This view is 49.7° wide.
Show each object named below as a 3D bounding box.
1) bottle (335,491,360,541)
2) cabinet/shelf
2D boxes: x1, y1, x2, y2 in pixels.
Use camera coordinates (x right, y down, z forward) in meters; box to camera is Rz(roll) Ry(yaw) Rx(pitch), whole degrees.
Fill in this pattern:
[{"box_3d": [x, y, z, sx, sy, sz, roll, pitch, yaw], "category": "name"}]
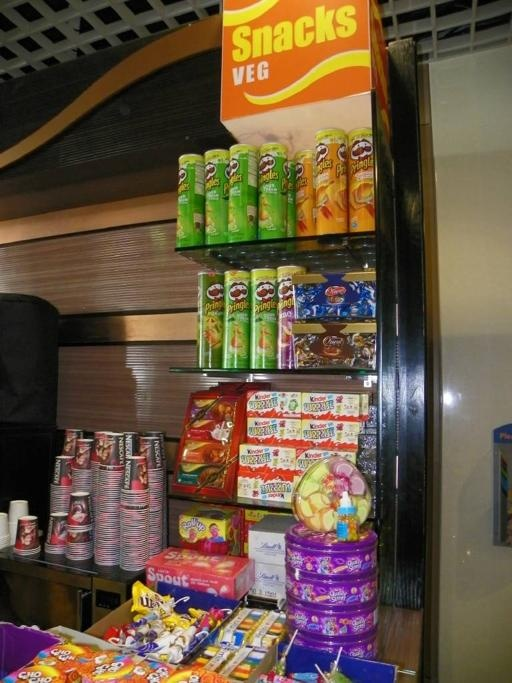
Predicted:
[{"box_3d": [0.195, 0.379, 1.192, 0.045, 0.094, 0.078, -5, -5, 39], "category": "bottle"}, {"box_3d": [0.083, 0.128, 1.729, 0.776, 0.788, 0.445, -2, -13, 37], "category": "cabinet/shelf"}]
